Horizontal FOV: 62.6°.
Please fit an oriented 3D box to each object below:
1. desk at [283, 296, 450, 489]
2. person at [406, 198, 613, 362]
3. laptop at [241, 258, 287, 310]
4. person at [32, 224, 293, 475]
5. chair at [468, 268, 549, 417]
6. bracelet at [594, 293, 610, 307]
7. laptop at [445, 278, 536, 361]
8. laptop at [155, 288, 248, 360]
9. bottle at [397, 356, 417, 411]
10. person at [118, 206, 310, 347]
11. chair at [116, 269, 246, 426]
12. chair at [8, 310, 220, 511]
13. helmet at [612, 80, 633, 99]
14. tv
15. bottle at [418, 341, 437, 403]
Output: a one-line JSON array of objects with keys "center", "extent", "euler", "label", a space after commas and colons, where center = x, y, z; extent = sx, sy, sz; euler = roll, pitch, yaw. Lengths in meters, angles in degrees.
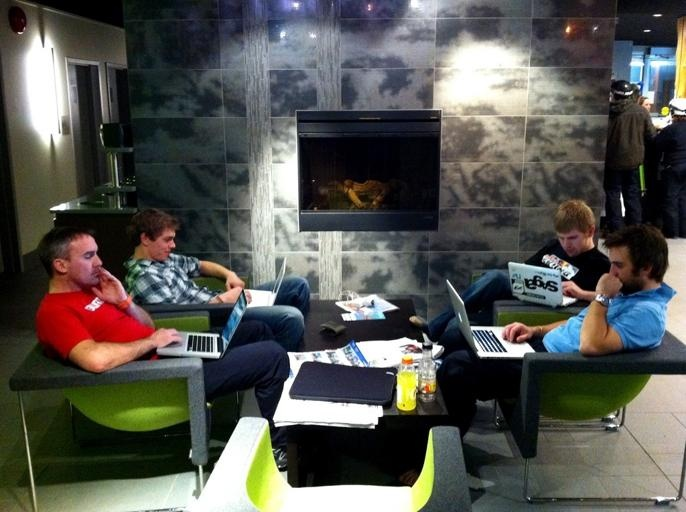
[{"center": [0.126, 0.950, 3.368], "extent": [0.689, 0.615, 1.286], "euler": [-1, 22, 0], "label": "desk"}, {"center": [0.901, 0.150, 3.861], "extent": [1.696, 1.010, 0.710], "euler": [-11, 21, 19], "label": "person"}, {"center": [-0.559, 0.241, 4.015], "extent": [0.305, 0.243, 0.407], "euler": [3, 15, -1], "label": "laptop"}, {"center": [-0.932, 0.493, 3.104], "extent": [1.181, 1.373, 0.707], "euler": [-8, 13, -9], "label": "person"}, {"center": [0.962, 0.512, 3.238], "extent": [0.467, 0.545, 0.830], "euler": [-1, 19, 4], "label": "chair"}, {"center": [1.278, 0.215, 2.769], "extent": [0.069, 0.048, 0.077], "euler": [10, -13, 32], "label": "bracelet"}, {"center": [0.807, 0.366, 3.178], "extent": [0.311, 0.397, 0.525], "euler": [-14, 2, 0], "label": "laptop"}, {"center": [-0.740, 0.369, 3.092], "extent": [0.532, 0.250, 0.533], "euler": [4, 7, 17], "label": "laptop"}, {"center": [0.316, 0.600, 2.770], "extent": [0.101, 0.242, 0.235], "euler": [0, 11, 6], "label": "bottle"}, {"center": [-0.836, 0.160, 3.870], "extent": [1.256, 0.715, 0.759], "euler": [7, 15, -2], "label": "person"}, {"center": [-0.878, 0.417, 2.986], "extent": [0.601, 0.513, 0.828], "euler": [0, 15, -2], "label": "chair"}, {"center": [-1.096, 0.703, 3.077], "extent": [0.895, 0.759, 0.933], "euler": [-1, 16, -7], "label": "chair"}, {"center": [3.214, -1.947, 6.591], "extent": [0.198, 0.204, 0.236], "euler": [-3, 29, -7], "label": "helmet"}, {"center": [0.135, -0.772, 5.054], "extent": [1.302, 1.000, 0.677], "euler": [-4, 11, -16], "label": "tv"}, {"center": [0.429, 0.570, 2.856], "extent": [0.098, 0.248, 0.246], "euler": [0, 11, 8], "label": "bottle"}]
